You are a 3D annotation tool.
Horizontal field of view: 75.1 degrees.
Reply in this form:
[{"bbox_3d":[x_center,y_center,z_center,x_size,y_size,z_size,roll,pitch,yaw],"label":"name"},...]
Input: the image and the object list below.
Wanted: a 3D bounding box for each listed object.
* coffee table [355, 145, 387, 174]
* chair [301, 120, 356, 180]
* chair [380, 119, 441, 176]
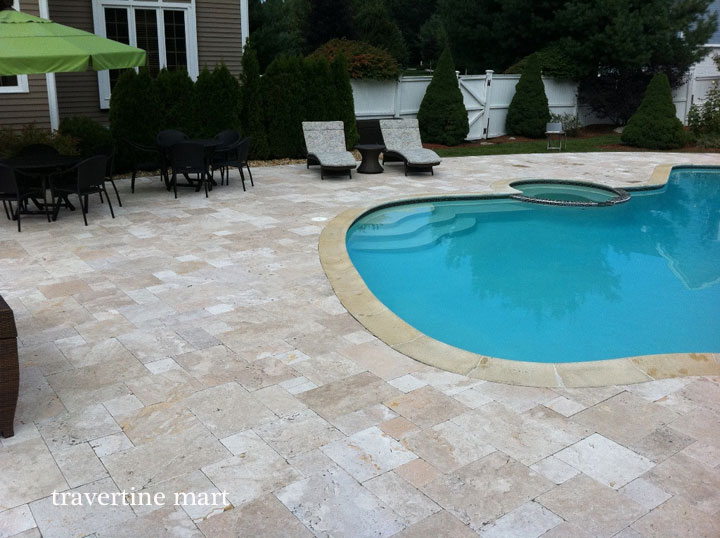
[{"bbox_3d":[0.252,-2.881,12.351,1.041,0.645,0.894,-4,13,-15],"label":"coffee table"},{"bbox_3d":[-0.741,-2.968,11.632,1.266,1.040,1.933,-7,34,-15],"label":"chair"},{"bbox_3d":[1.290,-3.179,12.143,1.056,0.982,1.730,-9,34,-22],"label":"chair"}]
